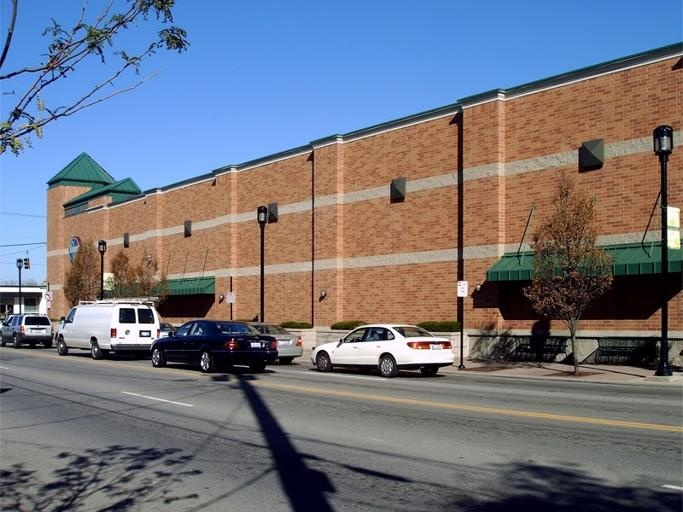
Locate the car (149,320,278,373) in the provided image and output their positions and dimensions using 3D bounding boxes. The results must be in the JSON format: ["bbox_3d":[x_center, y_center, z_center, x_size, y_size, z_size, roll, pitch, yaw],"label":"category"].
[{"bbox_3d":[-4.858,3.234,24.482,1.933,1.370,4.478,5,-5,-39],"label":"car"}]

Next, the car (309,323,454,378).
[{"bbox_3d":[1.387,3.110,23.299,1.968,1.461,4.893,4,-5,-41],"label":"car"}]

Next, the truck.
[{"bbox_3d":[-10.838,3.260,31.046,2.758,2.051,5.269,4,-3,-37],"label":"truck"}]
